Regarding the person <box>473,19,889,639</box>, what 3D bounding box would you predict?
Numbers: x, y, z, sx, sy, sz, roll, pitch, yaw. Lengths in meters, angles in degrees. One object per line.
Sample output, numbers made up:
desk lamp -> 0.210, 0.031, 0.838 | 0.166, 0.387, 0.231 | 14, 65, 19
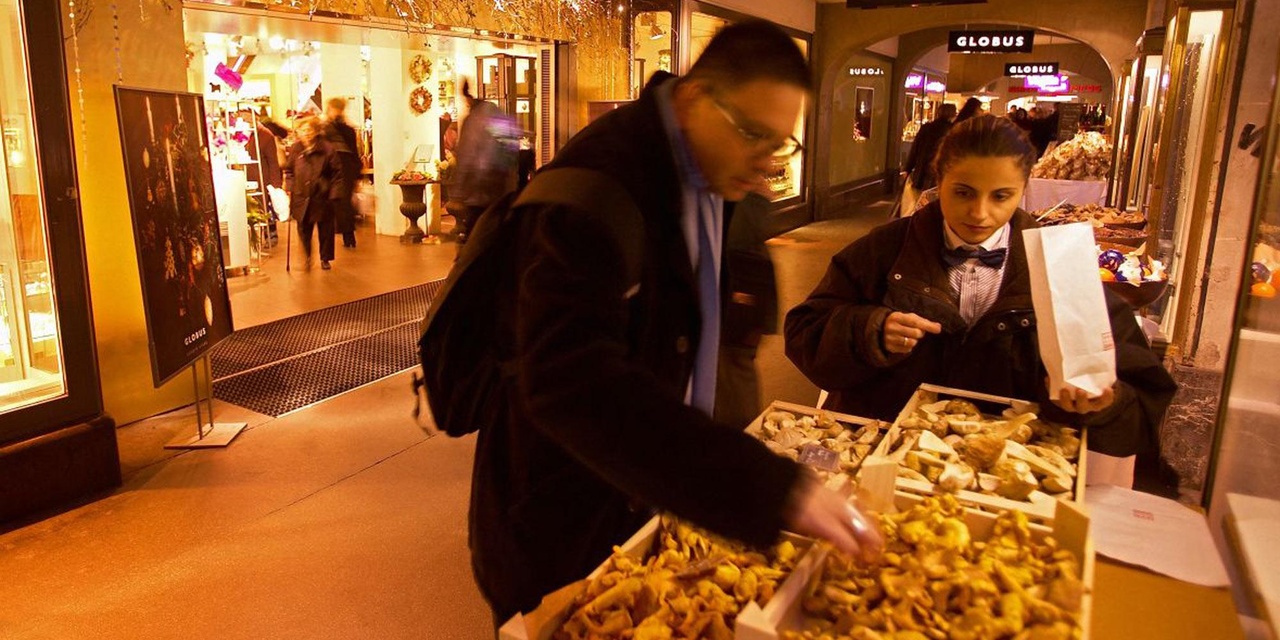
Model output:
person -> 0.144, -0.001, 3.238 | 1.438, 2.818, 1.169 | 2, -4, 20

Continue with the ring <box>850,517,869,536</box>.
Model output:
ring -> 0.836, 0.780, 2.735 | 0.055, 0.017, 0.072 | 20, 32, 29
